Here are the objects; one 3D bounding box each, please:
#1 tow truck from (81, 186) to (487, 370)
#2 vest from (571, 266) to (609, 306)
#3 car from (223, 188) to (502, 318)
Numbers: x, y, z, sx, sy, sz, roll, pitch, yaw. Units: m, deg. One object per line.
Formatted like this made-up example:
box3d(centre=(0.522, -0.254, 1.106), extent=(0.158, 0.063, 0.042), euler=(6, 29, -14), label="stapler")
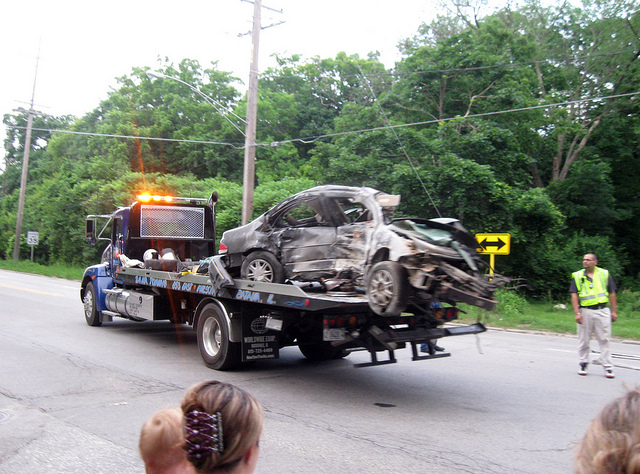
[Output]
box3d(centre=(-2.368, 0.615, 11.514), extent=(3.819, 3.078, 12.383), euler=(3, -1, -41), label="tow truck")
box3d(centre=(4.977, 0.921, 8.739), extent=(0.920, 0.766, 0.496), euler=(-5, -18, 24), label="vest")
box3d(centre=(0.592, 0.157, 7.339), extent=(4.358, 2.027, 1.181), euler=(0, -4, 44), label="car")
